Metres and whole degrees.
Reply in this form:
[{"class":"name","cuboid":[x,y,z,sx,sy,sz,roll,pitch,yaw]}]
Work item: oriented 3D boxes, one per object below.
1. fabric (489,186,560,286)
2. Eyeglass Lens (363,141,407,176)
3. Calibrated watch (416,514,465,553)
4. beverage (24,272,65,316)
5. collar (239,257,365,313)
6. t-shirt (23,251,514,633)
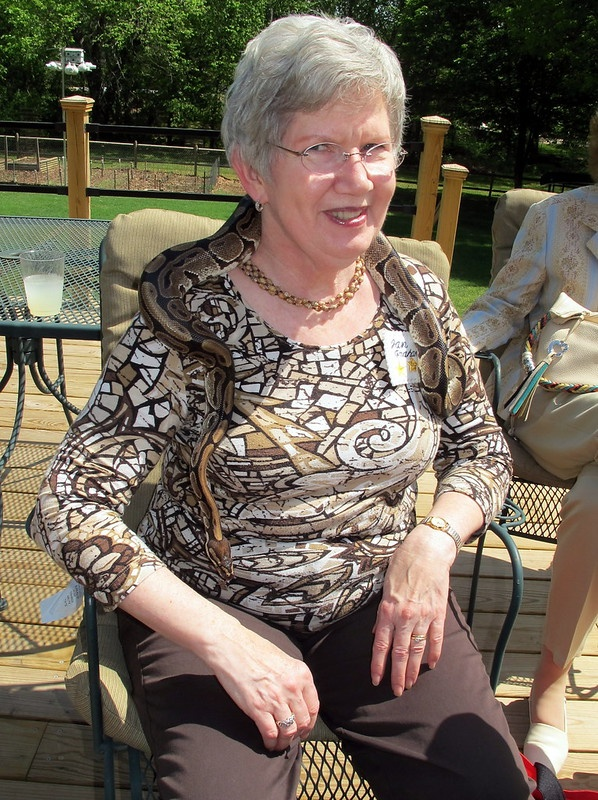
[{"class":"fabric","cuboid":[0.924,-0.731,3.117,0.453,0.394,0.153,-2,18,-36]},{"class":"Eyeglass Lens","cuboid":[0.164,-0.469,1.374,0.101,0.028,0.094,1,10,22]},{"class":"Calibrated watch","cuboid":[0.310,0.270,1.516,0.105,0.087,0.058,12,33,18]},{"class":"beverage","cuboid":[-0.765,-0.329,2.181,0.148,0.107,0.120,0,8,-5]},{"class":"collar","cuboid":[0.029,-0.259,1.484,0.188,0.026,0.145,19,0,-29]},{"class":"t-shirt","cuboid":[-0.047,0.052,1.431,0.855,0.247,0.809,3,55,-8]}]
